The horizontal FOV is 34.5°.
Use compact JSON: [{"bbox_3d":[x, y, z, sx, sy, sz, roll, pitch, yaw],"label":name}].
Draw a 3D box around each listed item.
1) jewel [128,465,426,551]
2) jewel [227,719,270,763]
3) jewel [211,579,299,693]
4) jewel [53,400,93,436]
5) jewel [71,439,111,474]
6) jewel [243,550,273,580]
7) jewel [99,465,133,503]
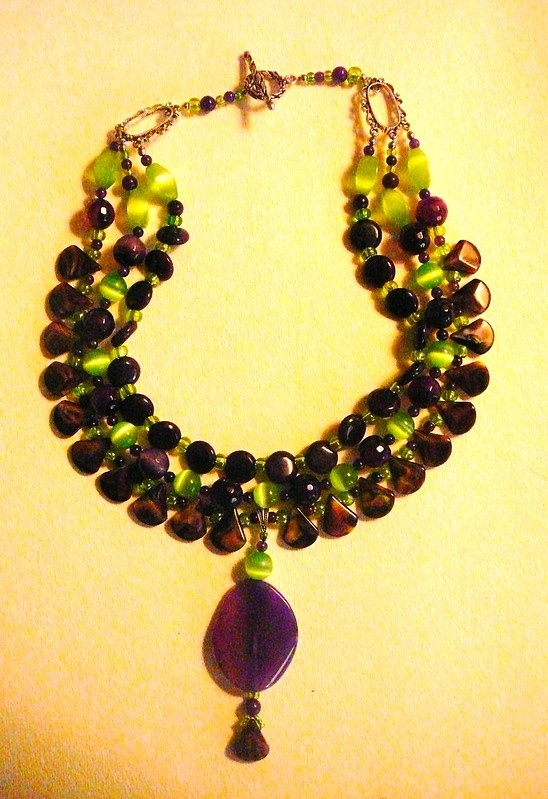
[{"bbox_3d":[0.002,0.185,1.538,0.498,0.173,0.087,4,-36,9],"label":"jewel"},{"bbox_3d":[-0.044,0.570,1.469,0.068,0.044,0.066,2,-72,-2],"label":"jewel"},{"bbox_3d":[-0.033,0.401,1.496,0.137,0.167,0.086,16,-35,-5],"label":"jewel"},{"bbox_3d":[-0.358,0.037,1.557,0.073,0.053,0.046,20,-35,-13],"label":"jewel"},{"bbox_3d":[-0.324,0.095,1.542,0.059,0.057,0.045,24,-37,-18],"label":"jewel"},{"bbox_3d":[-0.025,0.281,1.500,0.051,0.054,0.049,1,7,12],"label":"jewel"},{"bbox_3d":[-0.277,0.146,1.539,0.064,0.053,0.048,14,-35,-4],"label":"jewel"}]
